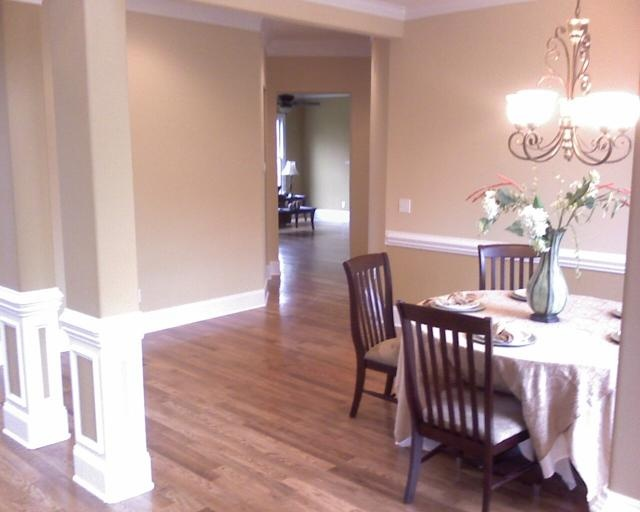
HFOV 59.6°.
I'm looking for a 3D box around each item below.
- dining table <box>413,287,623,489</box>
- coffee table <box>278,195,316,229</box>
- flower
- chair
[{"bbox_3d":[1.371,0.577,3.098,0.750,0.569,0.898,14,29,32],"label":"dining table"},{"bbox_3d":[-0.636,-1.223,14.503,0.844,0.911,2.788,-1,12,-4],"label":"coffee table"},{"bbox_3d":[1.400,-0.304,3.344,0.812,0.532,0.872,-3,5,-2],"label":"flower"},{"bbox_3d":[0.765,0.765,3.397,0.510,0.845,1.198,-13,19,-27],"label":"chair"}]
